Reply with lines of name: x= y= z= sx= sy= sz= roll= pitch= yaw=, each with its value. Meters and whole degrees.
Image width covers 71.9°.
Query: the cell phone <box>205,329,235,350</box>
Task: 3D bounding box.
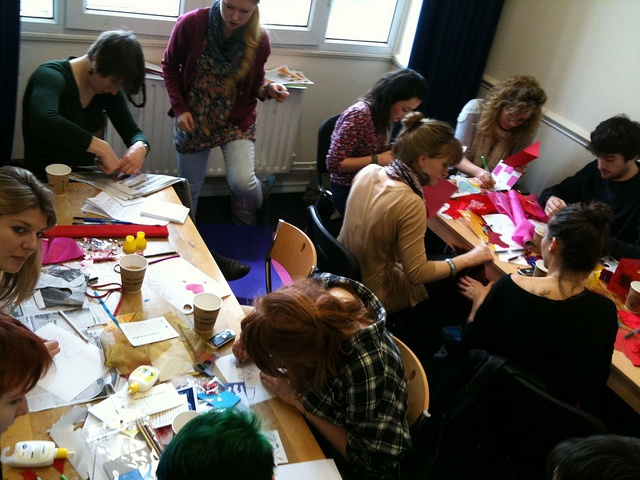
cell phone: x=-0.351 y=0.352 z=1.564 sx=0.081 sy=0.021 sz=0.044 roll=-24 pitch=51 yaw=-35

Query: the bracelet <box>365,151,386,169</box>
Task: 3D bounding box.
bracelet: x=0.344 y=-0.504 z=2.791 sx=0.147 sy=0.061 sz=0.215 roll=3 pitch=24 yaw=12

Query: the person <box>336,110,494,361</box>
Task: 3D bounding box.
person: x=0.480 y=-0.006 z=2.265 sx=0.638 sy=1.246 sz=0.597 roll=-20 pitch=49 yaw=-14

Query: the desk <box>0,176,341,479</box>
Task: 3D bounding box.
desk: x=-0.681 y=0.541 z=1.697 sx=0.744 sy=0.358 sz=1.440 roll=-12 pitch=50 yaw=-33

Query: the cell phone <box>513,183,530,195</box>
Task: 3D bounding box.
cell phone: x=1.547 y=-0.387 z=3.371 sx=0.083 sy=0.091 sz=0.153 roll=39 pitch=27 yaw=22

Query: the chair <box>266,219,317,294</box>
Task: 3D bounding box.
chair: x=-0.141 y=0.088 z=2.108 sx=0.182 sy=0.314 sz=0.223 roll=24 pitch=59 yaw=8

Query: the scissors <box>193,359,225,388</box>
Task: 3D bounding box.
scissors: x=-0.383 y=0.432 z=1.480 sx=0.080 sy=0.018 sz=0.054 roll=22 pitch=28 yaw=18

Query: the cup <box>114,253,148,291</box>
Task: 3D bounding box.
cup: x=-0.708 y=0.124 z=1.656 sx=0.127 sy=0.126 sz=0.116 roll=7 pitch=34 yaw=-4

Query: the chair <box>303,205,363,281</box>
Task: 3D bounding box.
chair: x=0.067 y=0.023 z=2.202 sx=0.192 sy=0.347 sz=0.196 roll=-30 pitch=60 yaw=-18

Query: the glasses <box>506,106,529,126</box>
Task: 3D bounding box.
glasses: x=1.342 y=-0.830 z=2.997 sx=0.095 sy=0.069 sz=0.130 roll=6 pitch=42 yaw=-16

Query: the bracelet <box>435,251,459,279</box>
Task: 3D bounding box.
bracelet: x=0.700 y=0.137 z=2.376 sx=0.042 sy=0.121 sz=0.125 roll=-6 pitch=12 yaw=-15

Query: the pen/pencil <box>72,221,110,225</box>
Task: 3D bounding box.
pen/pencil: x=-1.031 y=-0.075 z=1.960 sx=0.083 sy=0.011 sz=0.011 roll=1 pitch=30 yaw=-10

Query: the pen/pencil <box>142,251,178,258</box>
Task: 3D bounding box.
pen/pencil: x=-0.692 y=0.063 z=1.877 sx=0.115 sy=0.017 sz=0.014 roll=-6 pitch=14 yaw=-29

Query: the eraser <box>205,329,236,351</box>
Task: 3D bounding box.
eraser: x=-0.350 y=0.352 z=1.564 sx=0.082 sy=0.020 sz=0.045 roll=-23 pitch=49 yaw=-36

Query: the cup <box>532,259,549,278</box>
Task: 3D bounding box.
cup: x=1.088 y=0.153 z=2.185 sx=0.073 sy=0.062 sz=0.079 roll=3 pitch=40 yaw=-3
